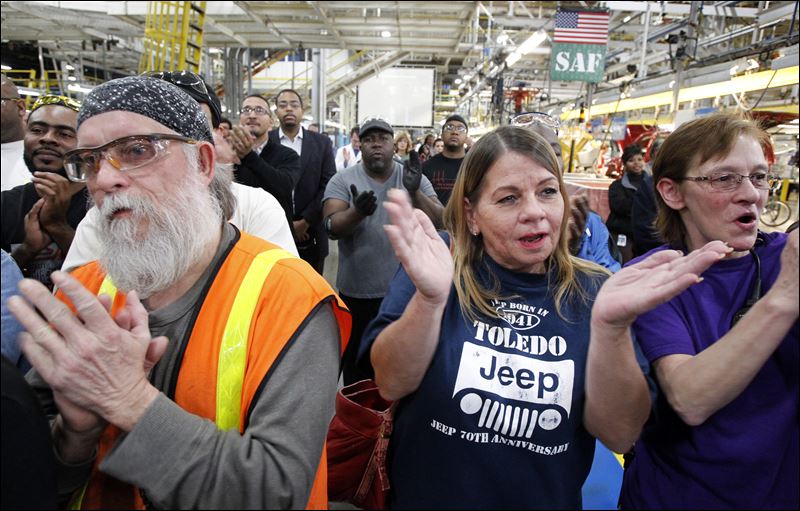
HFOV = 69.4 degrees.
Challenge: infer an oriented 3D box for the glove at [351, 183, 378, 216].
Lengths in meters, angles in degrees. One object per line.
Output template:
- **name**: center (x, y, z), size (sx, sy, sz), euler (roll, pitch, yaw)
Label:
- **glove**: center (-0.294, -0.458, 4.761), size (0.194, 0.157, 0.307), euler (38, 0, -13)

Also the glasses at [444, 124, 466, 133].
- **glasses**: center (0.626, -1.438, 6.512), size (0.137, 0.042, 0.142), euler (0, -21, 4)

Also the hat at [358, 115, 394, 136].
- **hat**: center (-0.211, -1.183, 5.374), size (0.269, 0.188, 0.438), euler (0, -3, -4)

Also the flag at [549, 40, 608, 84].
- **flag**: center (3.021, -3.355, 9.771), size (0.114, 0.770, 1.132), euler (-18, 27, -28)

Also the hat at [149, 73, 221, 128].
- **hat**: center (-1.549, -1.055, 3.919), size (0.572, 0.198, 0.380), euler (-30, 31, -20)

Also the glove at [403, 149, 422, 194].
- **glove**: center (0.105, -0.705, 4.952), size (0.103, 0.327, 0.243), euler (4, -2, 16)

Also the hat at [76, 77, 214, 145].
- **hat**: center (-1.109, -0.589, 2.590), size (0.361, 0.208, 0.364), euler (3, -14, 14)
